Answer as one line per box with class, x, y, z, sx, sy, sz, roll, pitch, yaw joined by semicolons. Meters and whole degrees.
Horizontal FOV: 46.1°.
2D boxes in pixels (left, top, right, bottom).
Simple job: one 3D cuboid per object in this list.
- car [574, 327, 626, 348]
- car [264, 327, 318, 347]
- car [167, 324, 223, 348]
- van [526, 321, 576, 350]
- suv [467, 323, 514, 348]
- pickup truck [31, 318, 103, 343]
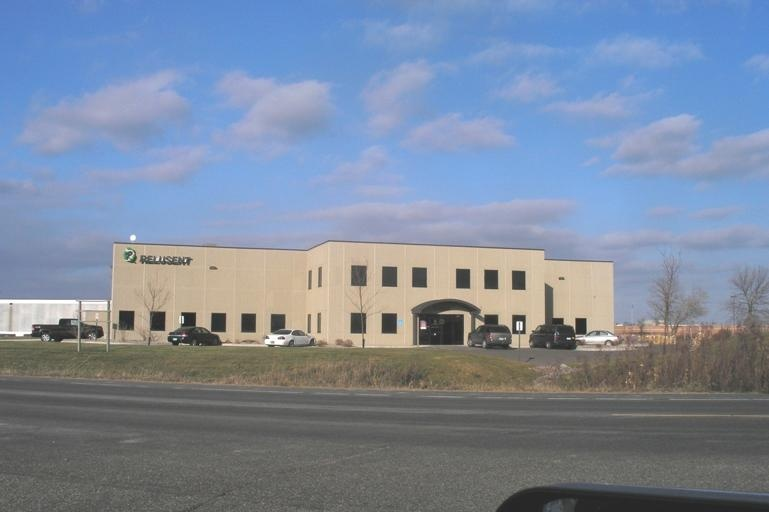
car;16.346;6.263;69.144;3.200;1.119;3.119;-2;-7;12
car;-6.462;5.694;62.820;2.927;0.807;1.389;-3;2;-26
car;-12.861;5.483;62.154;3.425;1.074;1.538;0;-1;-44
van;11.662;5.607;63.103;1.511;1.775;3.570;2;-7;-23
suv;7.323;5.530;62.913;1.396;1.030;2.961;2;-2;-18
pickup truck;-23.775;5.389;67.529;4.455;1.824;4.683;-1;-7;2
